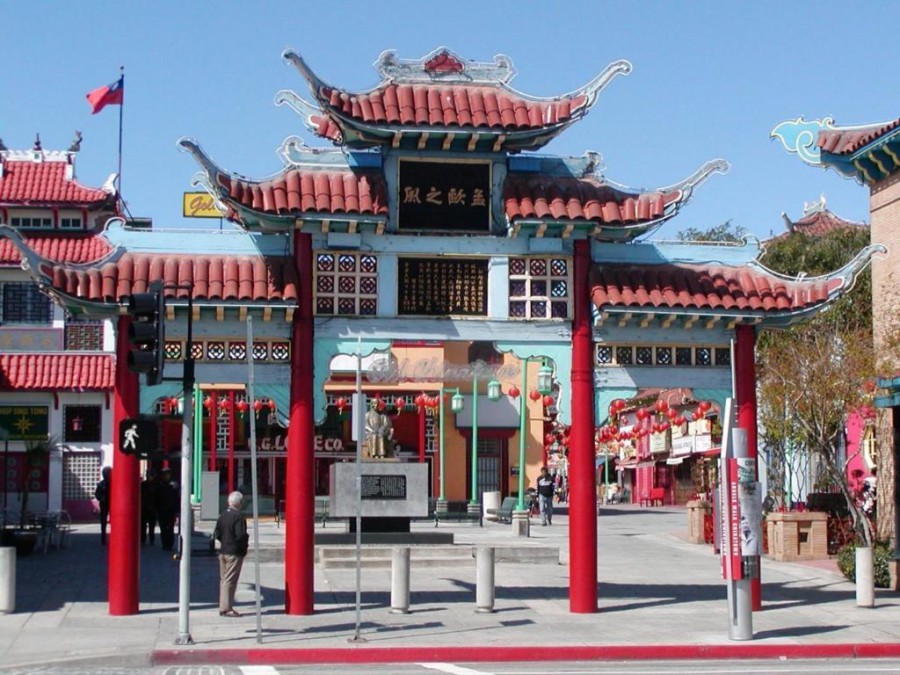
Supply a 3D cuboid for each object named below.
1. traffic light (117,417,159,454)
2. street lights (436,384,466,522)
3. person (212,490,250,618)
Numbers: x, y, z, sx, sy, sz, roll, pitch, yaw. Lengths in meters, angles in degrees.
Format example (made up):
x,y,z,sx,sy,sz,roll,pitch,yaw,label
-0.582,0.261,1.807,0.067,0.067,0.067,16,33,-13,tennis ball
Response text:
x,y,z,sx,sy,sz,roll,pitch,yaw,label
-6.107,1.932,31.525,0.845,0.744,0.441,-2,-7,6,traffic light
-0.178,4.699,71.025,0.960,5.500,0.758,-7,-5,31,street lights
-4.626,4.512,34.022,0.792,2.773,0.669,1,-2,-18,person
